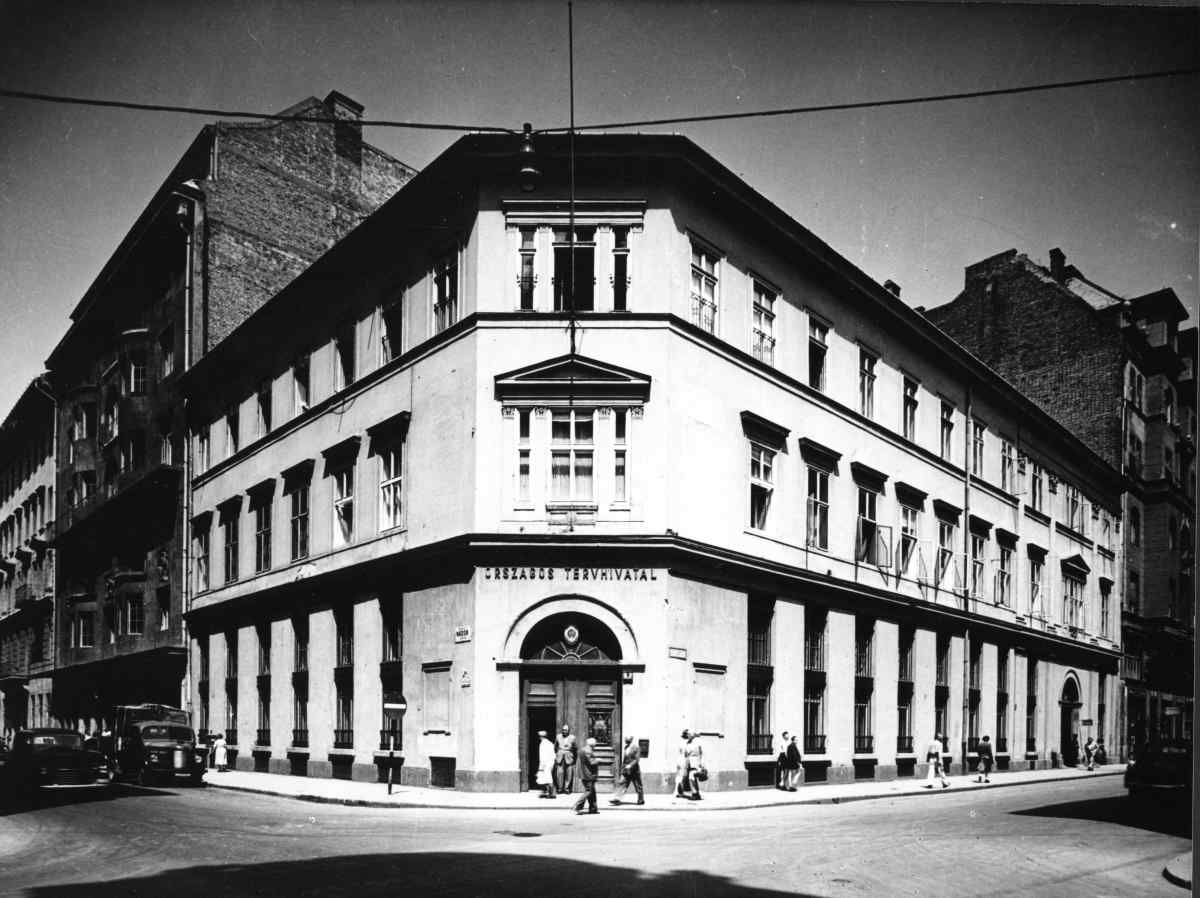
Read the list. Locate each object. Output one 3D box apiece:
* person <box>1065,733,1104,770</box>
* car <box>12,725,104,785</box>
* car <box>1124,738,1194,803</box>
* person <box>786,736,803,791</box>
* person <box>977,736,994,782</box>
[{"bbox_3d":[15.569,9.741,63.672,1.195,1.067,0.834,-6,-2,14],"label":"person"},{"bbox_3d":[-16.540,9.316,59.632,2.587,1.854,1.775,-5,-2,-18],"label":"car"},{"bbox_3d":[15.890,9.092,56.270,0.710,1.723,3.188,-4,-3,-19],"label":"car"},{"bbox_3d":[5.673,9.311,58.806,0.422,1.379,1.593,-5,-2,6],"label":"person"},{"bbox_3d":[11.863,9.626,61.447,0.526,1.282,1.898,-5,-2,11],"label":"person"}]
